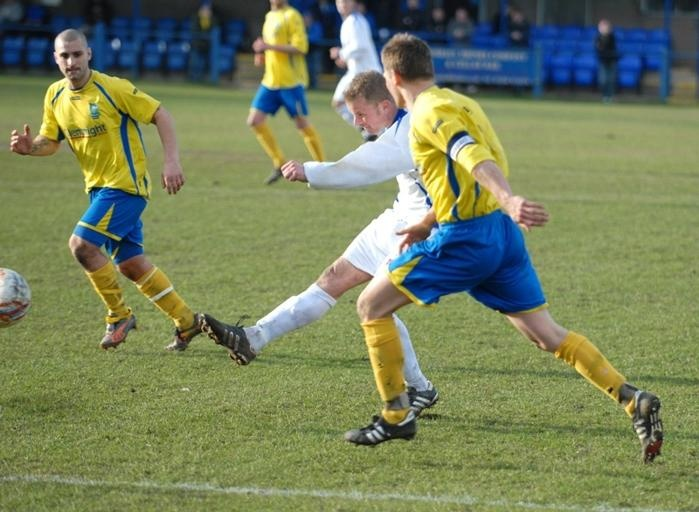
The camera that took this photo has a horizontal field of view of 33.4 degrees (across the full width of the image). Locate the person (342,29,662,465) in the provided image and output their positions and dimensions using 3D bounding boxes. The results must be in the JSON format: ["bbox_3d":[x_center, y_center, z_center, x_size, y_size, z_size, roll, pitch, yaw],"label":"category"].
[{"bbox_3d":[0.784,-0.044,6.605,1.523,2.342,0.638,3,14,17],"label":"person"}]

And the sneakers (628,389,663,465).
[{"bbox_3d":[1.709,0.955,6.645,0.148,0.426,0.213,-5,5,-4],"label":"sneakers"}]

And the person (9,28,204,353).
[{"bbox_3d":[-1.587,-0.438,7.844,1.163,2.129,0.668,7,16,31],"label":"person"}]
